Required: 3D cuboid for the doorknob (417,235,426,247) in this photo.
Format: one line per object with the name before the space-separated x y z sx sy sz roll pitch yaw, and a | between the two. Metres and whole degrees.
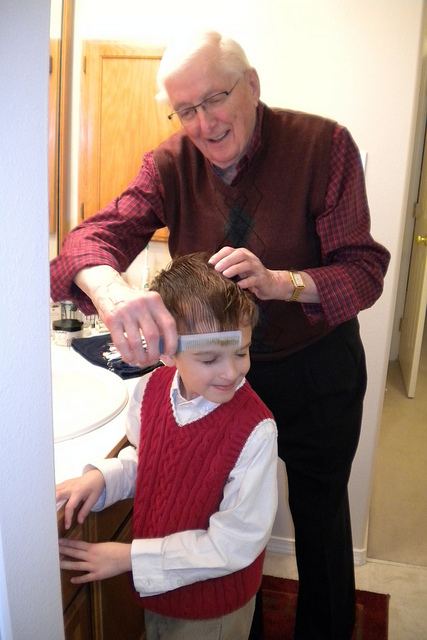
doorknob | 1.115 -0.426 2.635 0.036 0.057 0.030 9 38 24
